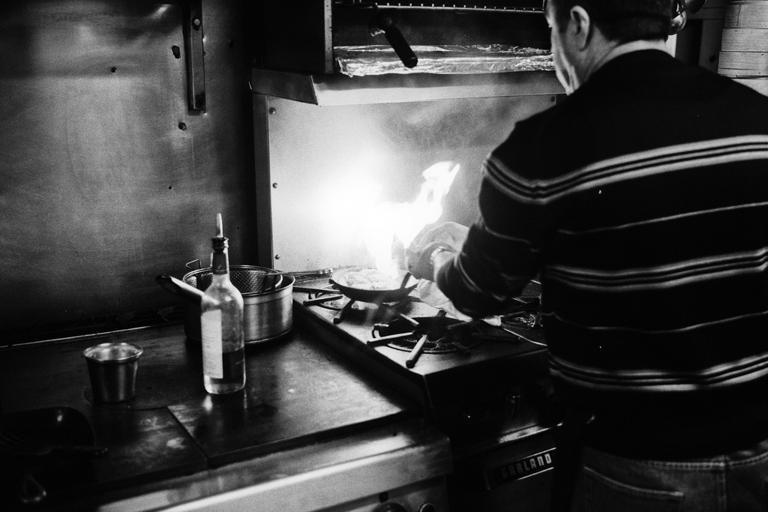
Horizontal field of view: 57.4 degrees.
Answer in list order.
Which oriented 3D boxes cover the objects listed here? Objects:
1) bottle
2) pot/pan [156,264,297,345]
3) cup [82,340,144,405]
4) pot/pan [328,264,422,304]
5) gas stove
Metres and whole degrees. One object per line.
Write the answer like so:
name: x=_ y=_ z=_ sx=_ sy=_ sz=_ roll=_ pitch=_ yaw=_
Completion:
bottle: x=-0.472 y=0.217 z=2.042 sx=0.128 sy=0.354 sz=0.132 roll=-1 pitch=9 yaw=0
pot/pan: x=-0.489 y=0.142 z=2.366 sx=0.392 sy=0.143 sz=0.256 roll=5 pitch=6 yaw=43
cup: x=-0.783 y=0.336 z=2.014 sx=0.167 sy=0.127 sz=0.156 roll=2 pitch=5 yaw=0
pot/pan: x=-0.068 y=0.090 z=2.533 sx=0.264 sy=0.064 sz=0.274 roll=-1 pitch=3 yaw=36
gas stove: x=0.048 y=0.211 z=2.278 sx=0.370 sy=0.069 sz=0.505 roll=-9 pitch=19 yaw=-36
